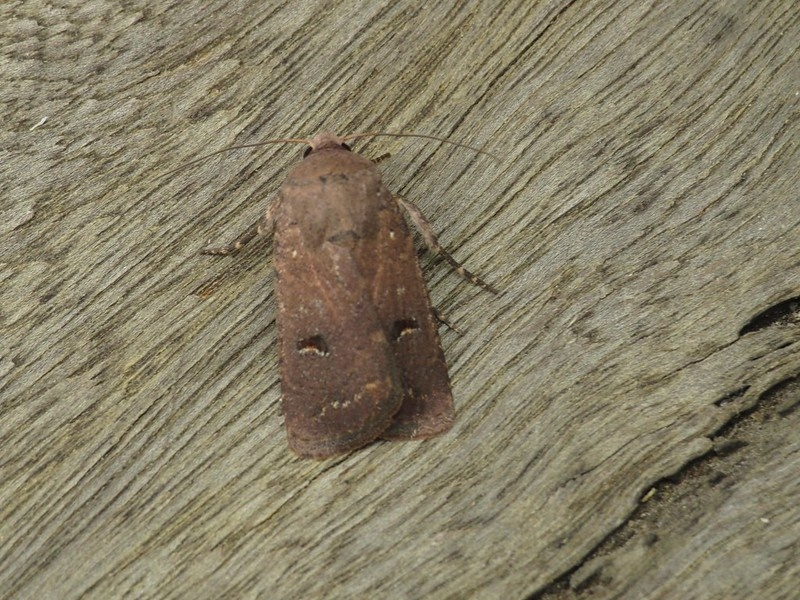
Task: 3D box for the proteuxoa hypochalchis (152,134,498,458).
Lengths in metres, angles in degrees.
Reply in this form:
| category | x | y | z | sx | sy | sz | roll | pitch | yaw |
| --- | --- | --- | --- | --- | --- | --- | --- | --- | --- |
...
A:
| category | x | y | z | sx | sy | sz | roll | pitch | yaw |
| --- | --- | --- | --- | --- | --- | --- | --- | --- | --- |
| proteuxoa hypochalchis | -0.359 | -0.129 | 6.954 | 2.620 | 3.147 | 1.707 | 0 | -67 | -5 |
